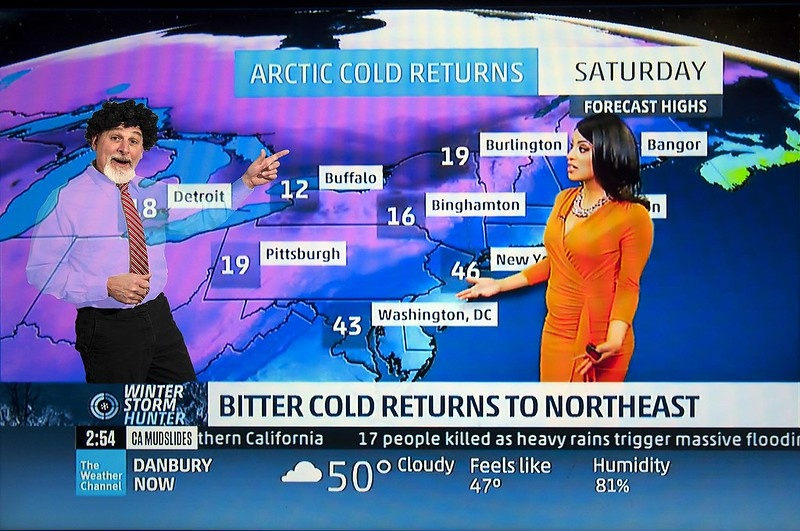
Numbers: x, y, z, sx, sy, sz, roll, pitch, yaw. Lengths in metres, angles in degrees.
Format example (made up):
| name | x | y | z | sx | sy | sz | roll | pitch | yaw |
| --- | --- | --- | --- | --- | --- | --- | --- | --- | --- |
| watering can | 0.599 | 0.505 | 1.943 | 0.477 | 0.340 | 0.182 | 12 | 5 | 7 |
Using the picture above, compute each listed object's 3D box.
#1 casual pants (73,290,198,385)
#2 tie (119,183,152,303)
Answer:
| name | x | y | z | sx | sy | sz | roll | pitch | yaw |
| --- | --- | --- | --- | --- | --- | --- | --- | --- | --- |
| casual pants | -1.722 | 0.434 | 6.209 | 0.404 | 0.542 | 0.220 | -23 | 13 | -25 |
| tie | -1.716 | -0.253 | 6.194 | 0.146 | 0.634 | 0.065 | -9 | 1 | 39 |
